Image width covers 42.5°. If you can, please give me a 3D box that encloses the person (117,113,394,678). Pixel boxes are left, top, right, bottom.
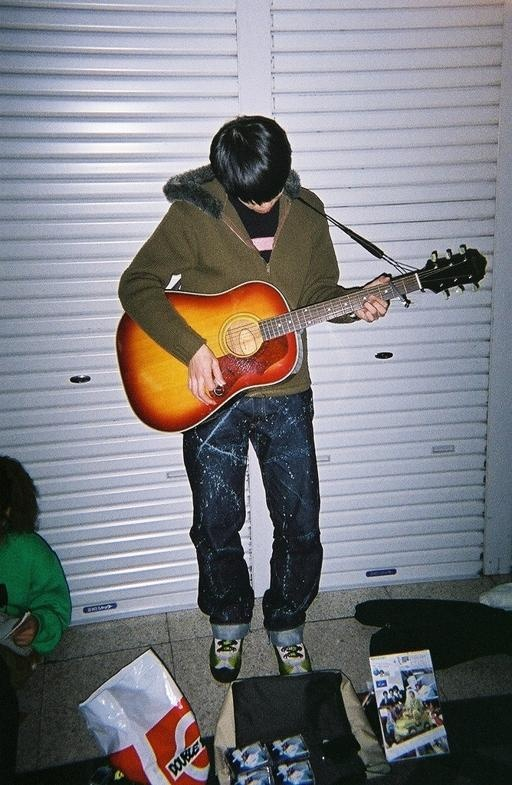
[{"bbox_3d":[-0.029,0.077,2.601,1.057,2.256,0.669,-3,12,-13],"label":"person"}]

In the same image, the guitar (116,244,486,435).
[{"bbox_3d":[0.160,-0.269,2.440,1.369,0.510,0.190,-17,11,10],"label":"guitar"}]
